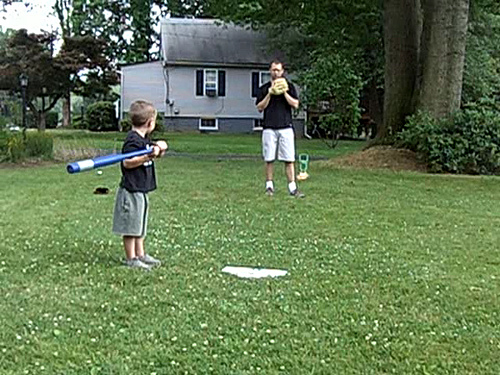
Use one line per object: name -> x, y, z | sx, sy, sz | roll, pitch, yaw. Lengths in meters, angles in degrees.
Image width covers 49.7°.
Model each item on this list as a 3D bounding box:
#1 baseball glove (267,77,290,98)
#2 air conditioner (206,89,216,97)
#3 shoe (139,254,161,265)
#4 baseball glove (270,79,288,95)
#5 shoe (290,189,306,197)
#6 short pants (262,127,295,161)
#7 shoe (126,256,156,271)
baseball glove -> 0.475, -1.663, 9.147 | 0.255, 0.139, 0.353 | -17, -7, -1
air conditioner -> -2.297, -5.590, 32.116 | 0.375, 0.434, 0.251 | -2, 4, 0
shoe -> -1.090, 0.776, 5.951 | 0.246, 0.119, 0.092 | 5, 3, 3
baseball glove -> 0.490, -1.684, 9.115 | 0.278, 0.268, 0.317 | 3, 12, 7
shoe -> 0.842, 0.098, 9.493 | 0.272, 0.108, 0.181 | 2, 12, 2
short pants -> 0.503, -0.762, 9.459 | 0.692, 0.776, 0.339 | 0, 2, 0
shoe -> -1.142, 0.812, 5.765 | 0.304, 0.151, 0.113 | 5, 6, 7
